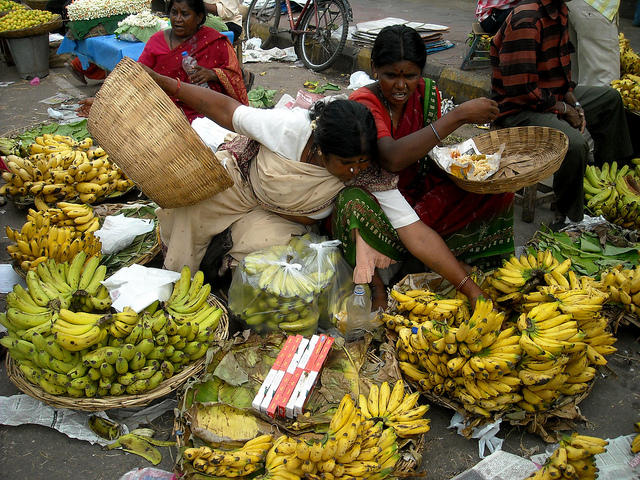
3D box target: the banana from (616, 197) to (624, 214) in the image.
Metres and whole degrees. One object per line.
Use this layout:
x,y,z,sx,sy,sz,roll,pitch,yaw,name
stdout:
2.623,-0.311,4.587,0.045,0.027,0.080,-5,77,14,banana

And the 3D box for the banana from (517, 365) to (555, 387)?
1.268,0.816,3.123,0.193,0.085,0.089,17,37,24,banana

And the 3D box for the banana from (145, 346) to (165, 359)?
-1.013,0.701,3.252,0.130,0.060,0.056,-29,-2,14,banana

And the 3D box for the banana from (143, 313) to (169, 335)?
-1.015,0.525,3.290,0.217,0.074,0.147,-18,54,44,banana

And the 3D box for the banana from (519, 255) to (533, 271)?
1.422,0.153,3.618,0.053,0.030,0.091,-2,53,-8,banana

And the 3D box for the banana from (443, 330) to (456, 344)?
0.777,0.579,3.147,0.052,0.086,0.058,-10,63,16,banana

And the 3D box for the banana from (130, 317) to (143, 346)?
-1.130,0.564,3.259,0.042,0.054,0.160,8,81,2,banana

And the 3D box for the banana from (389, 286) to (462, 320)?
0.708,0.423,3.554,0.138,0.198,0.395,-46,46,-15,banana

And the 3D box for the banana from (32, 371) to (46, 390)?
-1.734,0.848,3.232,0.046,0.129,0.033,-24,12,7,banana

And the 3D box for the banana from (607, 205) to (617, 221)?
2.579,-0.246,4.628,0.037,0.112,0.064,-9,4,-41,banana

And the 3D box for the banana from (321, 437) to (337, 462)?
0.048,1.095,2.760,0.060,0.117,0.039,23,35,-5,banana

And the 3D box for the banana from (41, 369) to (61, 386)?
-1.619,0.822,3.173,0.045,0.133,0.036,-56,17,-7,banana

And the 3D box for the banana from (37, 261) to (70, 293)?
-1.827,0.260,3.601,0.076,0.225,0.047,-43,2,-9,banana

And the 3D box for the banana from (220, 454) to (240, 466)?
-0.487,1.183,2.858,0.132,0.047,0.035,-1,5,-24,banana

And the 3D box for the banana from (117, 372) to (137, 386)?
-1.173,0.842,3.183,0.074,0.093,0.057,17,68,-19,banana

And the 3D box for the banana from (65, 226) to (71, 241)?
-1.988,-0.049,4.147,0.030,0.105,0.036,3,2,-20,banana

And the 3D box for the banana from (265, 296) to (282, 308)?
-0.313,0.418,3.565,0.084,0.066,0.053,-7,46,49,banana

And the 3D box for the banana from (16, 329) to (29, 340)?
-1.903,0.600,3.369,0.131,0.032,0.050,-23,-6,29,banana

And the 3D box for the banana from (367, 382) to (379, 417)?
0.339,0.978,3.207,0.047,0.058,0.175,33,43,-16,banana

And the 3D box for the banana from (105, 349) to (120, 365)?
-1.246,0.693,3.136,0.066,0.052,0.085,37,82,5,banana

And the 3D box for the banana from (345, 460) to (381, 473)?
0.238,1.237,2.880,0.168,0.048,0.058,-5,34,-7,banana

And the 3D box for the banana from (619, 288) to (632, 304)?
2.097,0.392,3.605,0.060,0.039,0.109,-22,79,-39,banana

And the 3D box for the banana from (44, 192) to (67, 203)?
-2.415,-0.389,4.801,0.164,0.058,0.087,-24,70,-26,banana

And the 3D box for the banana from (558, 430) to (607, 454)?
1.506,1.162,3.021,0.190,0.042,0.070,21,30,28,banana

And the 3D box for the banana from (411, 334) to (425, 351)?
0.615,0.649,3.354,0.049,0.035,0.129,-30,86,-11,banana

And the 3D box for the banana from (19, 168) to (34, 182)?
-2.671,-0.583,4.767,0.069,0.147,0.048,-45,19,-21,banana

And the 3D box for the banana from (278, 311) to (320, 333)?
-0.160,0.556,3.620,0.172,0.054,0.111,-17,12,-19,banana

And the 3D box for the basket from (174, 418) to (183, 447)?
-0.828,1.122,3.085,0.041,0.042,0.158,-13,73,13,basket

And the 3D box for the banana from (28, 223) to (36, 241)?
-2.275,-0.064,4.152,0.036,0.043,0.125,14,61,-2,banana

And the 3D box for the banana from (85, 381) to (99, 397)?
-1.373,0.893,3.159,0.051,0.031,0.096,15,61,-20,banana

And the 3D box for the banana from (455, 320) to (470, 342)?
0.847,0.547,3.132,0.073,0.144,0.061,7,34,11,banana

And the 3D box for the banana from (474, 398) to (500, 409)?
1.021,0.987,3.172,0.124,0.065,0.024,3,33,4,banana

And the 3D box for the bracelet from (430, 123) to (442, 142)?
0.754,-0.696,3.407,0.021,0.099,0.091,-27,33,13,bracelet

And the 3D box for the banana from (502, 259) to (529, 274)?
1.331,0.184,3.581,0.179,0.062,0.049,21,-2,19,banana

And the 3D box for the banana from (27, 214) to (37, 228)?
-2.380,-0.177,4.322,0.050,0.060,0.178,-22,52,-18,banana

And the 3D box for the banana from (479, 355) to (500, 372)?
0.994,0.719,3.105,0.049,0.040,0.143,-12,21,-28,banana

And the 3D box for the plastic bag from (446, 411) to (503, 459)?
1.003,1.196,3.231,0.233,0.276,0.101,12,45,28,plastic bag

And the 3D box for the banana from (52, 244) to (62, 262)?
-2.030,0.095,4.048,0.049,0.132,0.030,5,5,-18,banana

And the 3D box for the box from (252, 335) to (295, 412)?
-0.294,0.861,3.332,0.078,0.115,0.587,27,57,1,box

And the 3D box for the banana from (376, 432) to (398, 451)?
0.388,1.143,2.990,0.146,0.052,0.047,-41,85,-15,banana

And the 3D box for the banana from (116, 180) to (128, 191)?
-1.922,-0.526,5.101,0.080,0.103,0.060,23,48,-36,banana

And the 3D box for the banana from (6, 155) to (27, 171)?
-2.803,-0.725,4.802,0.249,0.082,0.070,31,34,14,banana
